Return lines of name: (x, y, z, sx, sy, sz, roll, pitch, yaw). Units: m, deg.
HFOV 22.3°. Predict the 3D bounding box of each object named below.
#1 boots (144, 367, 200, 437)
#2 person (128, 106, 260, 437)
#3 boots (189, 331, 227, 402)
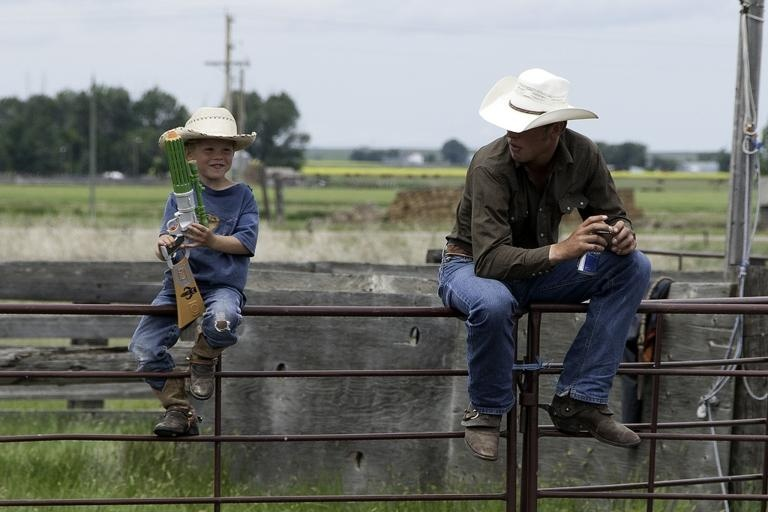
boots: (-2.438, 1.747, 22.338, 0.386, 0.732, 0.784, -16, -8, 24)
person: (-2.148, 0.134, 22.520, 1.324, 3.794, 0.951, 1, 5, -4)
boots: (-2.064, 1.216, 22.340, 0.367, 0.785, 0.314, 0, 5, -6)
